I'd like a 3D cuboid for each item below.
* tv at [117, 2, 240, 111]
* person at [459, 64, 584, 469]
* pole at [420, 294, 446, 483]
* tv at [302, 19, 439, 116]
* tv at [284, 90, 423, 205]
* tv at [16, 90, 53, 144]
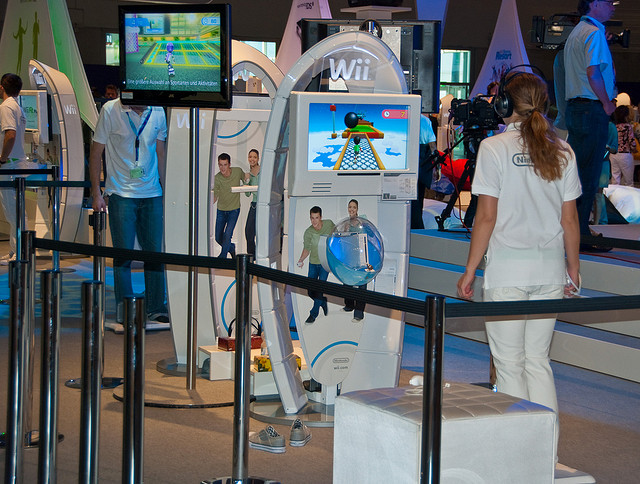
[{"bbox_3d":[-0.844,-1.091,4.431,0.776,0.693,0.108,1,0,12],"label":"tv"},{"bbox_3d":[0.954,0.154,3.616,0.555,1.932,0.535,5,9,19],"label":"person"},{"bbox_3d":[0.396,0.517,2.670,0.082,0.670,0.163,3,9,7],"label":"pole"},{"bbox_3d":[0.359,-1.317,5.637,0.980,0.708,0.529,-6,19,-19],"label":"tv"},{"bbox_3d":[0.176,-0.531,4.119,0.606,0.532,0.217,1,2,-10],"label":"tv"},{"bbox_3d":[-3.411,-1.479,8.859,0.599,0.604,0.221,8,12,37],"label":"tv"}]
